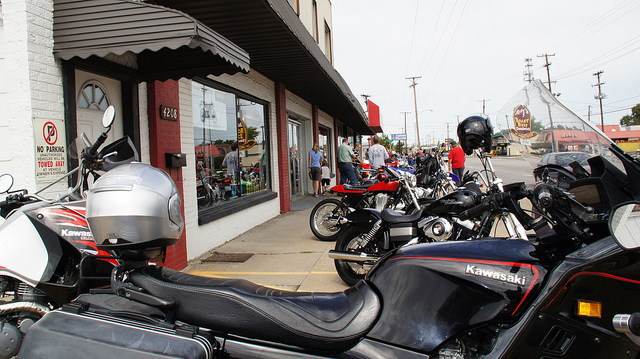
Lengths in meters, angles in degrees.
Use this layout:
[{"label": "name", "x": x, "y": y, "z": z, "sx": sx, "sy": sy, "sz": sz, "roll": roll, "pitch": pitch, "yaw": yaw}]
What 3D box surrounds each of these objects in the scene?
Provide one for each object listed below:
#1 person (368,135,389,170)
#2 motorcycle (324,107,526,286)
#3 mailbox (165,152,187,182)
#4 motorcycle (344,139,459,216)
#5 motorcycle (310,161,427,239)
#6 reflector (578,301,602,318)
[{"label": "person", "x": 2.082, "y": -0.637, "z": 15.216, "sx": 0.761, "sy": 1.761, "sz": 0.561, "roll": -4, "pitch": 14, "yaw": -14}, {"label": "motorcycle", "x": 1.436, "y": 0.421, "z": 5.116, "sx": 2.870, "sy": 1.832, "sz": 1.740, "roll": -4, "pitch": -4, "yaw": 22}, {"label": "mailbox", "x": -2.474, "y": -0.216, "z": 7.374, "sx": 0.217, "sy": 0.518, "sz": 0.546, "roll": -5, "pitch": -1, "yaw": -17}, {"label": "motorcycle", "x": 1.602, "y": -0.051, "z": 8.238, "sx": 2.082, "sy": 1.274, "sz": 1.336, "roll": -3, "pitch": 3, "yaw": 19}, {"label": "motorcycle", "x": 1.023, "y": 0.388, "z": 7.747, "sx": 2.496, "sy": 1.316, "sz": 1.204, "roll": -4, "pitch": -11, "yaw": 20}, {"label": "reflector", "x": 2.145, "y": 1.037, "z": 3.316, "sx": 0.194, "sy": 0.145, "sz": 0.008, "roll": -5, "pitch": 4, "yaw": -2}]
